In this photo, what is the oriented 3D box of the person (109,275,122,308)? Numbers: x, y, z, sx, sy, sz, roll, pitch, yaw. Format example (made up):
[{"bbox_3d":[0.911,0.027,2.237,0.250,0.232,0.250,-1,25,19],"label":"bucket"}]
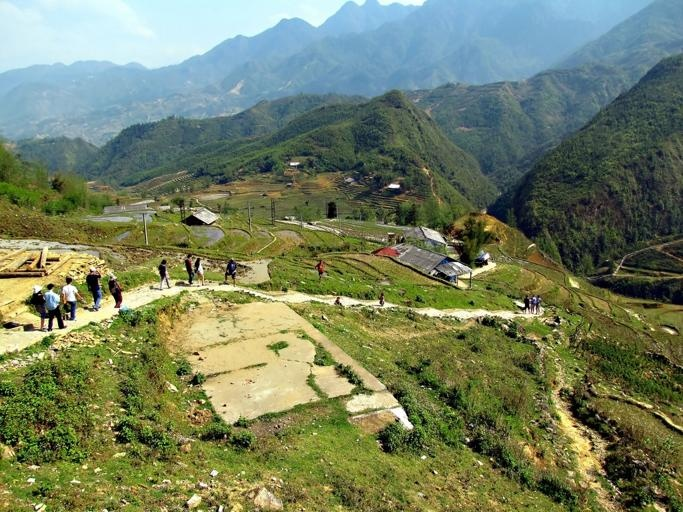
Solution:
[{"bbox_3d":[-13.402,2.083,29.559,0.631,1.804,1.252,-2,8,-26],"label":"person"}]

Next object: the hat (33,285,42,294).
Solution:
[{"bbox_3d":[-16.421,1.789,26.922,0.359,0.356,0.345,-10,18,-43],"label":"hat"}]
